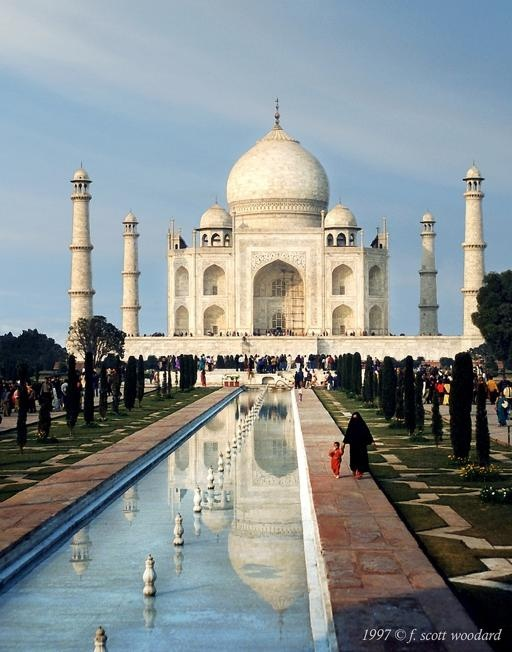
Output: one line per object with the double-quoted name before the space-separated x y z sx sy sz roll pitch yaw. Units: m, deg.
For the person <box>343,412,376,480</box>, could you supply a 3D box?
"person" 1.041 1.170 9.382 0.272 0.626 0.808 0 -1 6
